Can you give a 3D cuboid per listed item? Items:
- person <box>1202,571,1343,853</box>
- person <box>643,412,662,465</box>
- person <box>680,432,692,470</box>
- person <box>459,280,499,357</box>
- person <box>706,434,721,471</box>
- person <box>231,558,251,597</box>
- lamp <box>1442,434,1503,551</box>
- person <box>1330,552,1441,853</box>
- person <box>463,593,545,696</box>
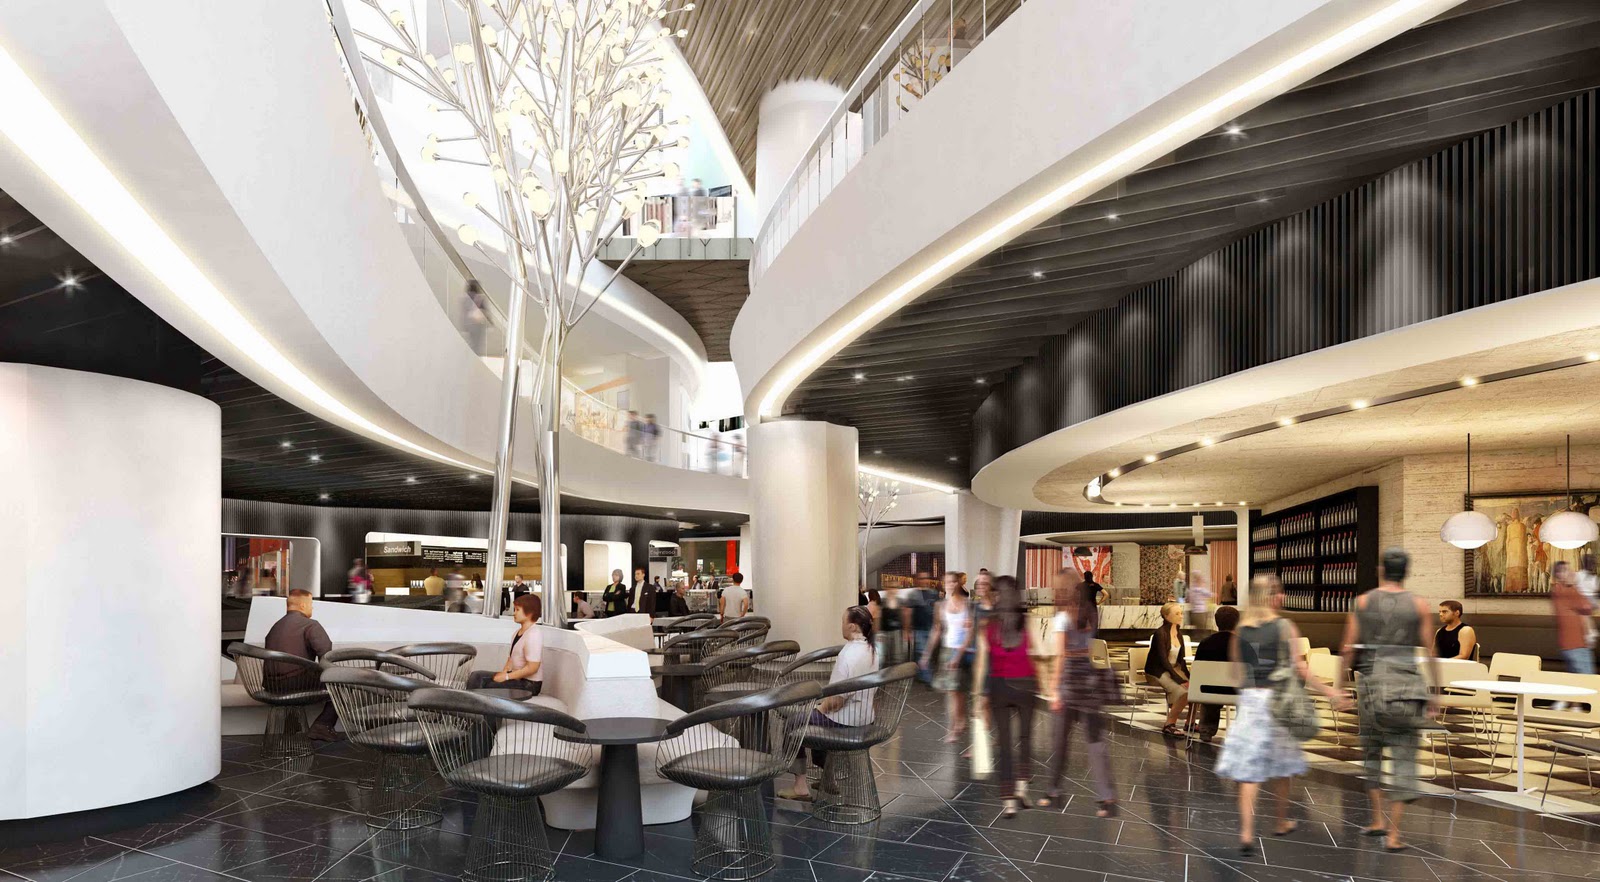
[{"bbox_3d":[4.007,2.323,8.365,0.855,2.303,0.466,0,2,-14],"label":"person"},{"bbox_3d":[-3.488,-0.101,22.468,0.324,1.061,1.046,1,1,-3],"label":"person"},{"bbox_3d":[-2.833,0.226,23.896,0.243,0.849,0.578,2,1,26],"label":"person"},{"bbox_3d":[-4.698,-1.766,14.014,0.544,1.466,0.301,-23,53,-30],"label":"person"},{"bbox_3d":[-2.248,0.313,24.688,0.197,0.879,0.530,2,1,28],"label":"person"},{"bbox_3d":[-11.779,2.840,20.236,0.216,0.711,0.560,1,1,-3],"label":"person"},{"bbox_3d":[9.642,0.810,13.881,0.545,1.671,2.752,2,1,36],"label":"lamp"},{"bbox_3d":[5.237,2.209,8.550,0.716,2.518,0.872,2,2,32],"label":"person"},{"bbox_3d":[-3.055,2.230,9.945,0.849,1.332,0.648,5,3,-13],"label":"person"}]
